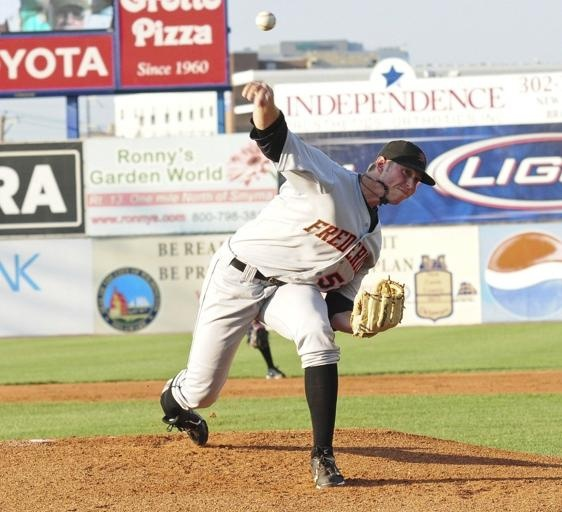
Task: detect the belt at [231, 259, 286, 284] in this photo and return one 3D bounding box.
[{"bbox_3d":[-0.235,0.181,13.836,0.332,0.082,0.250,30,5,-30],"label":"belt"}]

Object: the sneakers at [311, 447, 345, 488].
[{"bbox_3d":[0.406,1.896,13.745,0.272,0.301,0.686,-5,10,-2],"label":"sneakers"}]

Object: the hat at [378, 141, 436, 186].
[{"bbox_3d":[1.137,-0.865,13.850,0.582,0.303,0.463,16,-2,19],"label":"hat"}]

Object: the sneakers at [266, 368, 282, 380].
[{"bbox_3d":[-0.089,1.421,18.183,0.201,0.126,0.079,0,0,4],"label":"sneakers"}]

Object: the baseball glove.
[{"bbox_3d":[0.923,0.491,13.862,0.318,0.379,0.368,-1,6,-38],"label":"baseball glove"}]
